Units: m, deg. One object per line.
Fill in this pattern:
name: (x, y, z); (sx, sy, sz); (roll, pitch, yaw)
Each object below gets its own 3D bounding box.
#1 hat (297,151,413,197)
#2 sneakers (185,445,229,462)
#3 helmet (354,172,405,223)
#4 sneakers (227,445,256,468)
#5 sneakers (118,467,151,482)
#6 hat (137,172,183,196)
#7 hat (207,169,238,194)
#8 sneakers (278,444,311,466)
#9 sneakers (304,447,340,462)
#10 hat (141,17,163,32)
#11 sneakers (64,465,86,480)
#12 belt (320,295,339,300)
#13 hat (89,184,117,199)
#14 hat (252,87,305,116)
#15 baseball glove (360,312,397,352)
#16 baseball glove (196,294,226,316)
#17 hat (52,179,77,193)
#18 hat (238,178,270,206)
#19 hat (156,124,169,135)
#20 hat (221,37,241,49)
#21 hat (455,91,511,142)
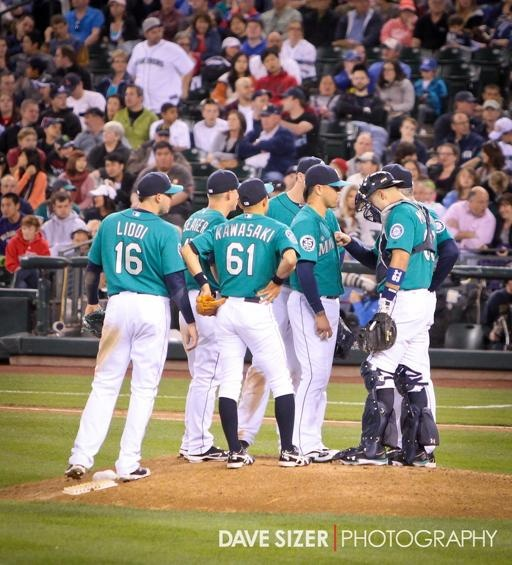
hat: (0.838, -0.842, 9.948); (0.609, 0.224, 0.425); (-3, 4, 10)
sneakers: (-0.374, 1.339, 10.044); (0.381, 0.154, 0.125); (-6, 4, -14)
helmet: (0.971, -0.700, 9.987); (0.310, 0.415, 0.428); (-2, 8, -28)
sneakers: (-0.104, 1.346, 9.623); (0.094, 0.122, 0.277); (2, 0, 29)
sneakers: (-0.888, 1.420, 9.337); (0.242, 0.106, 0.088); (-11, 14, -35)
hat: (-0.745, -0.764, 9.641); (0.306, 0.168, 0.186); (-21, 27, -22)
hat: (-0.252, -0.813, 9.898); (0.172, 0.133, 0.222); (10, 28, 31)
sneakers: (0.288, 1.337, 9.586); (0.101, 0.125, 0.287); (0, -3, 44)
sneakers: (0.525, 1.351, 9.873); (0.279, 0.114, 0.096); (-6, 4, 5)
hat: (-1.503, -3.733, 17.922); (0.263, 0.172, 0.346); (-20, -7, -8)
sneakers: (-1.347, 1.413, 9.361); (0.087, 0.090, 0.199); (2, 0, -8)
belt: (0.601, 0.113, 10.047); (0.048, 0.032, 0.174); (8, 9, 41)
hat: (-1.918, -1.168, 15.768); (0.308, 0.154, 0.185); (6, 2, -17)
hat: (0.352, -2.438, 16.763); (0.630, 0.258, 0.372); (-1, 8, -1)
baseball glove: (0.911, 0.395, 9.662); (0.321, 0.306, 0.224); (-4, -1, -1)
baseball glove: (-0.356, 0.161, 9.618); (0.151, 0.097, 0.191); (3, 7, -7)
hat: (-2.432, -1.235, 15.827); (0.261, 0.123, 0.165); (5, 7, 12)
hat: (-0.020, -0.700, 9.669); (0.224, 0.215, 0.113); (1, 7, -3)
hat: (-1.237, -2.066, 16.785); (0.153, 0.124, 0.232); (2, -16, -6)
hat: (-0.361, -3.515, 18.232); (0.200, 0.138, 0.199); (3, -3, -37)
hat: (3.029, -2.250, 16.776); (0.521, 0.392, 0.831); (15, 4, -2)
